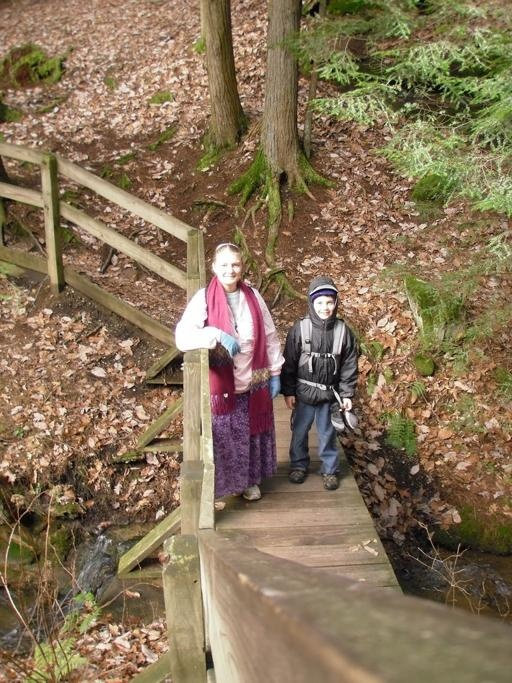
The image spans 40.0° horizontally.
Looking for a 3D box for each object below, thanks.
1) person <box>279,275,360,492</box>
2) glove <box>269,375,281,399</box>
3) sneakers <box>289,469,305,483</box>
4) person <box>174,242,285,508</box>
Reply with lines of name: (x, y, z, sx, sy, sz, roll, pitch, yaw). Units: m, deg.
person: (0.396, 0.290, 4.417, 0.444, 1.468, 0.230, 5, 25, 18)
glove: (0.148, 0.265, 4.291, 0.102, 0.105, 0.125, -10, -2, 5)
sneakers: (0.282, 0.890, 4.699, 0.081, 0.073, 0.189, 0, -8, 3)
person: (-0.130, 0.340, 4.174, 0.380, 1.505, 0.697, 13, 28, 31)
